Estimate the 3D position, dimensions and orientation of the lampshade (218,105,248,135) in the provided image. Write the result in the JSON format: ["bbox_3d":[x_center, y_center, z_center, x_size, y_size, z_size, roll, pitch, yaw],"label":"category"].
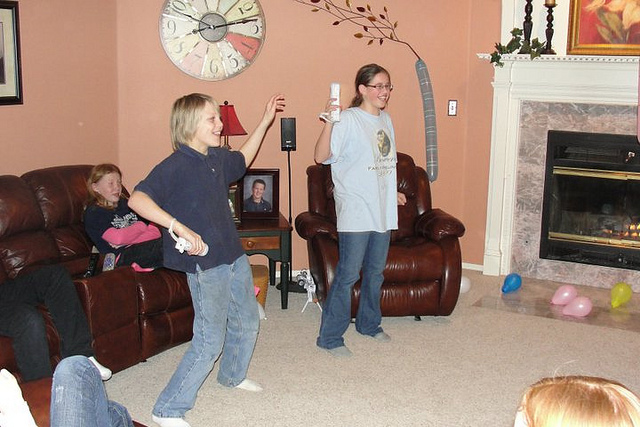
[{"bbox_3d":[-0.775,-0.813,4.496,0.194,0.260,0.356,-2,15,-10],"label":"lampshade"}]

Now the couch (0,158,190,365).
[{"bbox_3d":[-1.484,0.365,3.350,0.927,1.193,1.274,7,12,39],"label":"couch"}]

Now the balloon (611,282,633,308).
[{"bbox_3d":[2.650,0.718,4.553,0.247,0.127,0.123,-47,5,-18],"label":"balloon"}]

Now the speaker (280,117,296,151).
[{"bbox_3d":[-0.299,-0.728,4.697,0.124,0.287,0.142,-2,15,-9],"label":"speaker"}]

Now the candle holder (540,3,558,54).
[{"bbox_3d":[2.198,-1.733,4.836,0.119,0.440,0.217,14,20,43],"label":"candle holder"}]

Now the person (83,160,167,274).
[{"bbox_3d":[-1.419,0.026,3.835,0.671,0.817,0.599,-2,11,4],"label":"person"}]

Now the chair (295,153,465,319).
[{"bbox_3d":[0.511,0.166,4.489,1.425,1.347,1.092,-1,9,-7],"label":"chair"}]

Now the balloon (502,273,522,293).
[{"bbox_3d":[1.835,0.659,4.861,0.229,0.157,0.090,-9,17,-31],"label":"balloon"}]

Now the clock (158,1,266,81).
[{"bbox_3d":[-1.058,-1.629,4.770,0.733,0.725,0.057,-3,7,-8],"label":"clock"}]

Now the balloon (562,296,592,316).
[{"bbox_3d":[2.179,0.788,4.313,0.197,0.095,0.148,-5,35,-27],"label":"balloon"}]
